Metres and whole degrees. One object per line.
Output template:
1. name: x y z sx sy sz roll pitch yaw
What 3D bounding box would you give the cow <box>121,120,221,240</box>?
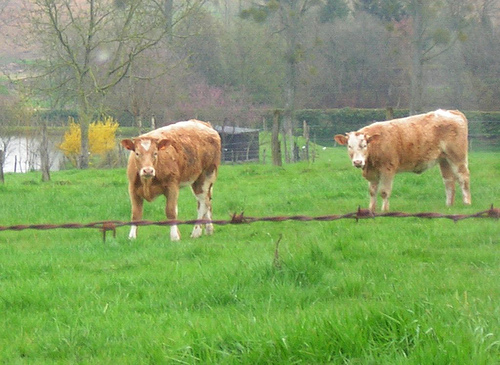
1. cow: -5.954 -0.032 74.359 4.187 8.006 11.252 5 4 20

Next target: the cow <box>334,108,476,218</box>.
1. cow: 11.462 -1.285 75.308 10.099 7.136 3.850 -7 8 -16
